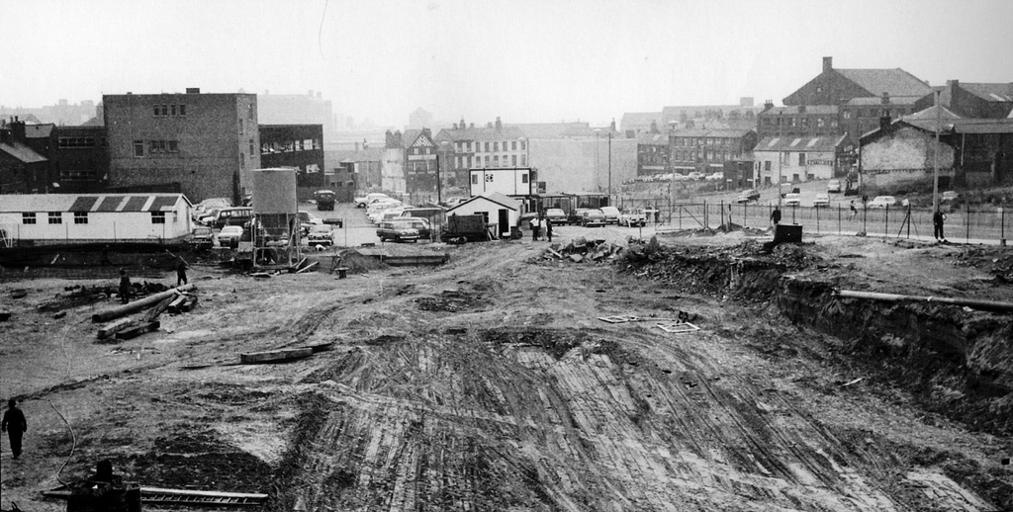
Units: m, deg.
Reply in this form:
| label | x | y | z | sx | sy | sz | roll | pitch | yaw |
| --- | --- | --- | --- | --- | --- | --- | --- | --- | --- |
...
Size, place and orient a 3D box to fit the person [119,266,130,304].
| label | x | y | z | sx | sy | sz | roll | pitch | yaw |
| --- | --- | --- | --- | --- | --- | --- | --- | --- | --- |
| person | -19.443 | 1.572 | 48.826 | 0.478 | 1.543 | 1.410 | -6 | 9 | -25 |
